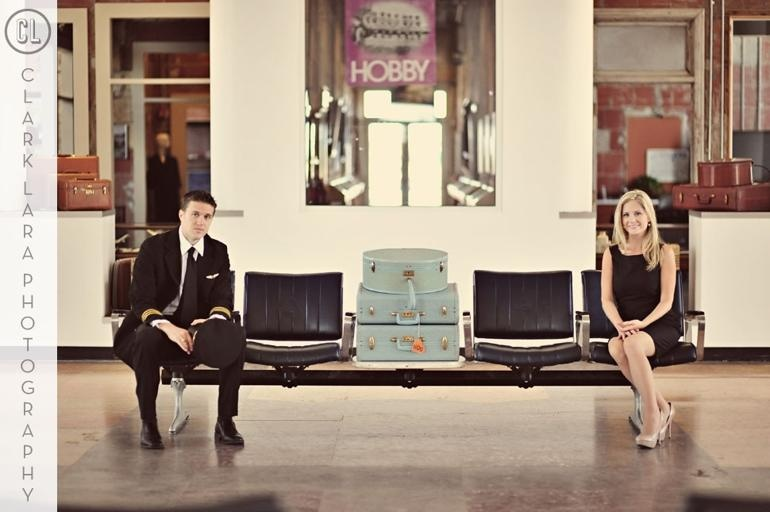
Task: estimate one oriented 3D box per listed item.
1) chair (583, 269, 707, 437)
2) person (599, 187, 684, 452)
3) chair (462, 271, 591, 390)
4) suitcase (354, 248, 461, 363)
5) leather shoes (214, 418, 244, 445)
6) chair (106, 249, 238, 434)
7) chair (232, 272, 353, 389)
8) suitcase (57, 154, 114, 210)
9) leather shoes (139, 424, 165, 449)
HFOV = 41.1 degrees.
[{"bbox_3d":[2.043,0.738,8.289,0.992,1.321,0.844,-1,0,1],"label":"chair"},{"bbox_3d":[1.995,0.455,7.968,0.592,1.916,0.617,0,3,12],"label":"person"},{"bbox_3d":[1.128,0.592,8.268,0.981,0.893,0.782,-1,1,3],"label":"chair"},{"bbox_3d":[0.207,0.420,8.449,0.812,0.701,0.836,0,-2,0],"label":"suitcase"},{"bbox_3d":[-1.207,1.354,7.891,0.117,0.149,0.311,4,-8,-35],"label":"leather shoes"},{"bbox_3d":[-1.594,0.447,8.001,0.837,1.859,1.132,2,1,-23],"label":"chair"},{"bbox_3d":[-0.763,0.611,8.529,1.053,0.981,0.835,0,-4,0],"label":"chair"},{"bbox_3d":[-2.833,-0.669,9.677,0.511,0.505,0.495,0,-1,-44],"label":"suitcase"},{"bbox_3d":[-1.758,1.348,7.764,0.172,0.192,0.131,-2,3,-15],"label":"leather shoes"}]
